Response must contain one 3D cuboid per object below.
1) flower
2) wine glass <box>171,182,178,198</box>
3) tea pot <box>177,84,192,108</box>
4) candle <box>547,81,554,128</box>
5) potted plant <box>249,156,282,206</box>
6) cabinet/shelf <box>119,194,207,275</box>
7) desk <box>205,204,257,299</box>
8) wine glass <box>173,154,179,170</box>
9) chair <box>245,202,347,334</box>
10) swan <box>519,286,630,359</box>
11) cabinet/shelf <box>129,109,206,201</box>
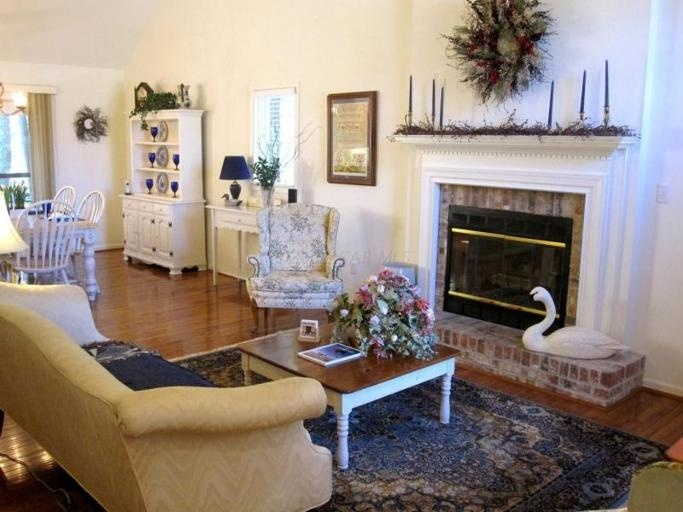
[{"bbox_3d":[0.321,0.356,3.419,0.521,0.593,0.574,-2,11,-31],"label":"flower"},{"bbox_3d":[-2.235,-0.912,7.075,0.093,0.207,0.204,-4,15,-19],"label":"wine glass"},{"bbox_3d":[-2.087,-2.146,6.969,0.170,0.309,0.328,-3,14,-15],"label":"tea pot"},{"bbox_3d":[1.586,-1.147,3.939,0.044,0.354,0.126,5,15,19],"label":"candle"},{"bbox_3d":[-0.868,-0.899,6.129,0.341,0.558,0.580,-1,14,-7],"label":"potted plant"},{"bbox_3d":[-2.441,-0.362,7.320,1.218,0.977,0.597,12,18,40],"label":"cabinet/shelf"},{"bbox_3d":[-1.285,-0.096,6.317,0.504,1.031,0.830,-7,14,-41],"label":"desk"},{"bbox_3d":[-2.223,-1.289,7.099,0.081,0.216,0.409,-4,14,-17],"label":"wine glass"},{"bbox_3d":[-0.442,0.070,5.144,0.960,1.141,1.007,1,7,-3],"label":"chair"},{"bbox_3d":[1.716,0.486,3.864,0.713,0.506,0.308,3,2,32],"label":"swan"},{"bbox_3d":[-2.444,-1.450,7.364,1.436,1.198,0.496,13,19,42],"label":"cabinet/shelf"}]
